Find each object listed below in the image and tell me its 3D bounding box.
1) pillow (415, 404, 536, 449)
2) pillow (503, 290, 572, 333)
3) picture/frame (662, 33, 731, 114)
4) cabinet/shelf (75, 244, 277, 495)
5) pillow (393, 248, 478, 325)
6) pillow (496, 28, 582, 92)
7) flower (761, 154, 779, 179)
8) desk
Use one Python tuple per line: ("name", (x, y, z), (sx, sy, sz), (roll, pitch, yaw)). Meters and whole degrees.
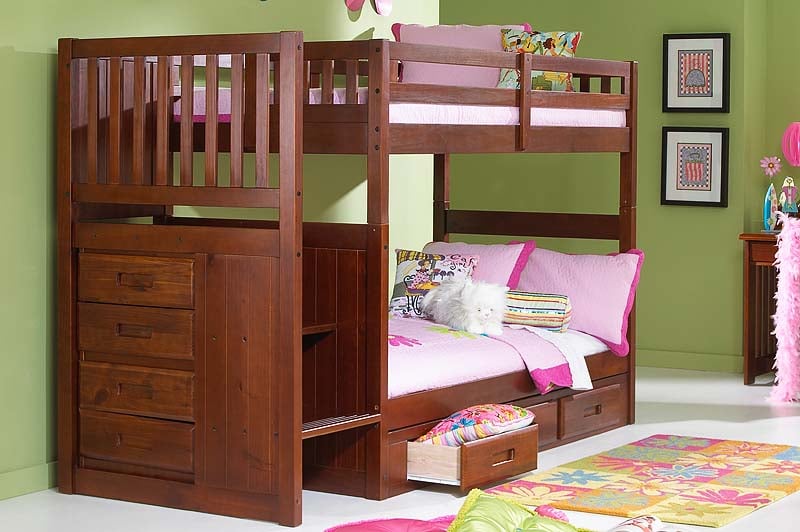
("pillow", (0.391, 0.740, 3.374), (0.310, 0.088, 0.249), (-12, -1, -42))
("pillow", (0.812, 0.266, 4.211), (0.354, 0.213, 0.114), (-2, -3, 1))
("picture/frame", (2.409, -1.547, 5.732), (0.716, 0.780, 0.060), (1, 1, 30))
("cabinet/shelf", (-0.947, 0.446, 3.121), (1.197, 1.087, 0.458), (1, 1, 26))
("pillow", (0.196, 0.088, 4.421), (0.433, 0.434, 0.131), (4, -35, 15))
("pillow", (0.803, -1.256, 4.203), (0.521, 0.470, 0.153), (4, -2, 18))
("flower", (3.054, -0.811, 5.881), (0.143, 0.183, 0.168), (4, 5, 41))
("desk", (2.802, 0.316, 5.574), (0.264, 1.142, 0.579), (2, 4, 28))
